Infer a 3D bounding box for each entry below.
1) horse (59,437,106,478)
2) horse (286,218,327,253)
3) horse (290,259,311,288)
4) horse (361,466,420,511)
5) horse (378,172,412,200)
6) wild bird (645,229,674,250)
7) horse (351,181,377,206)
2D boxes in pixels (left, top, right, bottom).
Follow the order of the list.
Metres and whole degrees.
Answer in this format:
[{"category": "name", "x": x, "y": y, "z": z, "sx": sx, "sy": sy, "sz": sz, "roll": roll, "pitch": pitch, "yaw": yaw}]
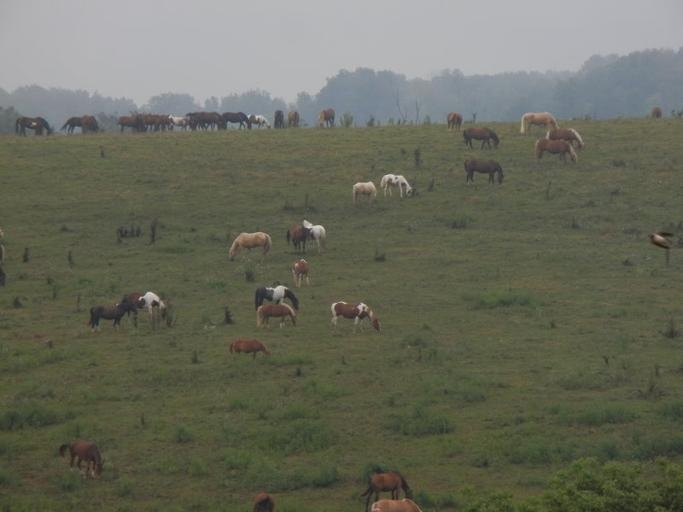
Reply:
[{"category": "horse", "x": -13.874, "y": 10.772, "z": 77.776, "sx": 2.109, "sy": 1.862, "sz": 0.778, "roll": 0, "pitch": 2, "yaw": 9}, {"category": "horse", "x": -2.379, "y": -1.251, "z": 94.101, "sx": 2.415, "sy": 1.965, "sz": 2.221, "roll": -1, "pitch": 2, "yaw": -3}, {"category": "horse", "x": -2.465, "y": 1.091, "z": 90.101, "sx": 1.485, "sy": 1.651, "sz": 1.035, "roll": -2, "pitch": 3, "yaw": -34}, {"category": "horse", "x": 2.284, "y": 12.379, "z": 77.094, "sx": 2.487, "sy": 2.054, "sz": 1.100, "roll": -1, "pitch": 2, "yaw": 0}, {"category": "horse", "x": 3.616, "y": -4.790, "z": 100.987, "sx": 2.032, "sy": 1.572, "sz": 2.211, "roll": -3, "pitch": 3, "yaw": -38}, {"category": "wild bird", "x": 18.218, "y": -0.856, "z": 84.007, "sx": 1.425, "sy": 1.443, "sz": 0.552, "roll": 29, "pitch": -30, "yaw": -37}, {"category": "horse", "x": 1.477, "y": -4.352, "z": 100.287, "sx": 1.715, "sy": 1.454, "sz": 2.361, "roll": -1, "pitch": 2, "yaw": 0}]
